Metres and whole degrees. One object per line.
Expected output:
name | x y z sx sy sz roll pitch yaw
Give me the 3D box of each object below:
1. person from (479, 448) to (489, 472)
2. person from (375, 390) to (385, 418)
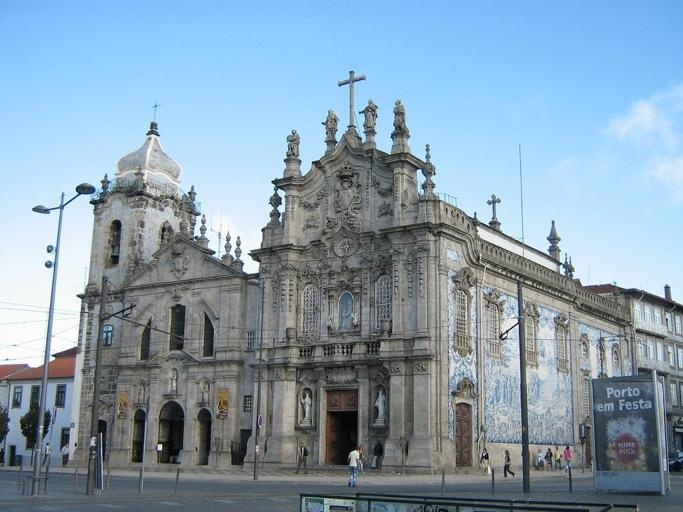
person | 9.983 14.084 52.533 0.475 1.704 1.174 -9 -19 26
person | 2.586 9.928 51.356 0.770 1.972 0.283 -15 -22 39
